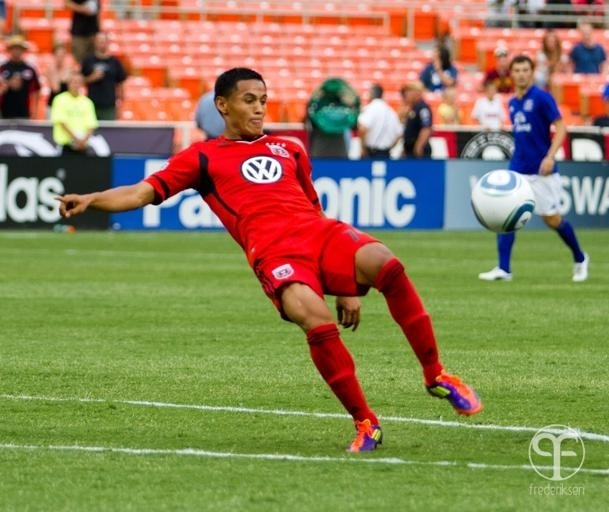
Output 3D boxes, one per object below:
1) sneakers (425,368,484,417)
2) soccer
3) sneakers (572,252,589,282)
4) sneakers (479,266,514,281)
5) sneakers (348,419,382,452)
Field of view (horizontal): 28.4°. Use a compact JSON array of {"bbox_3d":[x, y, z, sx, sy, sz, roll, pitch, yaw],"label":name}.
[{"bbox_3d":[0.810,0.750,6.651,0.336,0.169,0.146,35,-22,10],"label":"sneakers"},{"bbox_3d":[1.598,-0.484,10.421,0.551,0.577,0.519,-1,-8,3],"label":"soccer"},{"bbox_3d":[2.564,0.103,11.307,0.129,0.287,0.113,0,12,-26],"label":"sneakers"},{"bbox_3d":[1.782,0.164,11.361,0.262,0.098,0.131,3,-1,3],"label":"sneakers"},{"bbox_3d":[0.317,0.964,6.414,0.096,0.125,0.260,1,6,21],"label":"sneakers"}]
